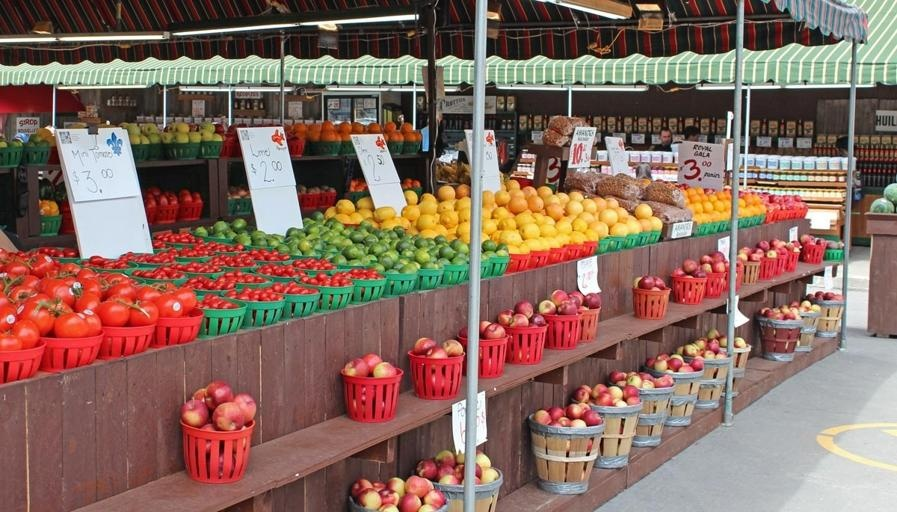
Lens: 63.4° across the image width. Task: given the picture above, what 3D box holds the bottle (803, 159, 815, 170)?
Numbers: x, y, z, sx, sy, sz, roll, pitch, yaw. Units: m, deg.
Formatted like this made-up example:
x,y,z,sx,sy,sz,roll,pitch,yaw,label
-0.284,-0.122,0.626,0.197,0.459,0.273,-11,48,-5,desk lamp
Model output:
x,y,z,sx,sy,sz,roll,pitch,yaw,label
7.135,-1.841,14.439,0.190,0.218,0.194,2,2,5,bottle

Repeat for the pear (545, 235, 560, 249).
x,y,z,sx,sy,sz,roll,pitch,yaw,label
0.774,-0.114,5.478,0.096,0.076,0.074,-1,-2,35,pear

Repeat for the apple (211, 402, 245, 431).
x,y,z,sx,sy,sz,roll,pitch,yaw,label
-1.060,0.772,3.533,0.129,0.127,0.135,-1,24,3,apple

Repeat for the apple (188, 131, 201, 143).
x,y,z,sx,sy,sz,roll,pitch,yaw,label
-2.113,-0.998,6.064,0.091,0.086,0.088,22,4,-34,apple

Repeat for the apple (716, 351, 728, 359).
x,y,z,sx,sy,sz,roll,pitch,yaw,label
2.534,0.914,6.743,0.084,0.055,0.075,-9,11,-44,apple

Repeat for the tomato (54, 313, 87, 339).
x,y,z,sx,sy,sz,roll,pitch,yaw,label
-1.714,0.303,3.320,0.114,0.117,0.118,19,17,39,tomato

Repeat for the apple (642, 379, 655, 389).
x,y,z,sx,sy,sz,roll,pitch,yaw,label
1.581,1.016,5.788,0.094,0.067,0.177,1,14,17,apple

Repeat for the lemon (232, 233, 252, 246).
x,y,z,sx,sy,sz,roll,pitch,yaw,label
-1.396,-0.117,4.948,0.107,0.060,0.199,-9,15,-22,lemon

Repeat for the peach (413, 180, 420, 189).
x,y,z,sx,sy,sz,roll,pitch,yaw,label
-0.321,-0.744,7.441,0.079,0.081,0.080,-3,3,12,peach

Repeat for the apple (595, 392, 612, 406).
x,y,z,sx,sy,sz,roll,pitch,yaw,label
1.141,1.057,5.408,0.088,0.088,0.089,10,6,23,apple

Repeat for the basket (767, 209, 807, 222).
x,y,z,sx,sy,sz,roll,pitch,yaw,label
3.947,-0.490,8.559,0.582,0.129,0.281,-4,4,-41,basket

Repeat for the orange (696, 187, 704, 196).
x,y,z,sx,sy,sz,roll,pitch,yaw,label
2.547,-0.669,7.362,0.056,0.067,0.262,2,15,22,orange

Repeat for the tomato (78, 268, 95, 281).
x,y,z,sx,sy,sz,roll,pitch,yaw,label
-1.885,0.078,3.776,0.071,0.057,0.093,-3,11,-22,tomato

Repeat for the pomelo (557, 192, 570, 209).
x,y,z,sx,sy,sz,roll,pitch,yaw,label
0.958,-0.470,6.145,0.109,0.130,0.111,-8,12,44,pomelo

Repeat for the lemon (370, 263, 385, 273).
x,y,z,sx,sy,sz,roll,pitch,yaw,label
-0.438,0.063,4.465,0.055,0.045,0.062,37,11,31,lemon

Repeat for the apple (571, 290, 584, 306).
x,y,z,sx,sy,sz,roll,pitch,yaw,label
0.941,0.304,5.375,0.095,0.097,0.113,-6,-8,-27,apple

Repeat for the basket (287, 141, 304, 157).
x,y,z,sx,sy,sz,roll,pitch,yaw,label
-1.411,-1.007,6.757,0.143,0.113,0.142,-7,11,-34,basket

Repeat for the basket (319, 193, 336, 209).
x,y,z,sx,sy,sz,roll,pitch,yaw,label
-1.162,-0.536,7.040,0.147,0.115,0.149,-1,1,-11,basket

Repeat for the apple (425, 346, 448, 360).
x,y,z,sx,sy,sz,roll,pitch,yaw,label
-0.070,0.579,4.384,0.122,0.051,0.083,-4,14,-2,apple

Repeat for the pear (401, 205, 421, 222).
x,y,z,sx,sy,sz,roll,pitch,yaw,label
-0.295,-0.346,5.726,0.097,0.102,0.134,-6,-1,35,pear

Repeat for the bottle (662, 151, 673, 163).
x,y,z,sx,sy,sz,roll,pitch,yaw,label
4.493,-2.068,15.078,0.216,0.212,0.220,1,2,-10,bottle

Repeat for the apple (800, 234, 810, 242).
x,y,z,sx,sy,sz,roll,pitch,yaw,label
4.231,-0.221,8.682,0.057,0.061,0.071,12,41,-24,apple

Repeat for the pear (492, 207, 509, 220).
x,y,z,sx,sy,sz,roll,pitch,yaw,label
0.398,-0.334,5.642,0.094,0.101,0.114,8,-8,4,pear

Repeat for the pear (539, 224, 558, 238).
x,y,z,sx,sy,sz,roll,pitch,yaw,label
0.751,-0.196,5.549,0.117,0.094,0.095,28,4,1,pear

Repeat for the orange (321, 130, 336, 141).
x,y,z,sx,sy,sz,roll,pitch,yaw,label
-1.143,-1.158,6.927,0.142,0.096,0.055,-5,13,-9,orange

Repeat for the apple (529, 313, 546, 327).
x,y,z,sx,sy,sz,roll,pitch,yaw,label
0.599,0.430,4.928,0.095,0.068,0.140,-1,14,8,apple

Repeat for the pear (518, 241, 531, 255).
x,y,z,sx,sy,sz,roll,pitch,yaw,label
0.536,-0.065,5.273,0.064,0.055,0.088,-7,29,2,pear

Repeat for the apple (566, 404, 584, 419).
x,y,z,sx,sy,sz,roll,pitch,yaw,label
0.900,1.112,5.211,0.099,0.108,0.104,3,2,8,apple

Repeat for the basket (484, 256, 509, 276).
x,y,z,sx,sy,sz,roll,pitch,yaw,label
0.333,0.066,5.010,0.134,0.099,0.137,0,3,17,basket

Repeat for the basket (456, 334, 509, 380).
x,y,z,sx,sy,sz,roll,pitch,yaw,label
0.208,0.637,4.645,0.289,0.224,0.269,0,3,12,basket

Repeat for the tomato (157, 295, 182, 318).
x,y,z,sx,sy,sz,roll,pitch,yaw,label
-1.361,0.246,3.551,0.106,0.109,0.099,7,-18,-25,tomato

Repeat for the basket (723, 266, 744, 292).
x,y,z,sx,sy,sz,roll,pitch,yaw,label
2.763,0.200,7.123,0.267,0.213,0.273,3,11,21,basket

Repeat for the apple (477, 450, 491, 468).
x,y,z,sx,sy,sz,roll,pitch,yaw,label
0.216,1.313,4.673,0.073,0.101,0.208,-2,14,4,apple

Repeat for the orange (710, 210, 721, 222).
x,y,z,sx,sy,sz,roll,pitch,yaw,label
2.654,-0.408,7.245,0.096,0.095,0.096,2,21,18,orange

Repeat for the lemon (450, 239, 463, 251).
x,y,z,sx,sy,sz,roll,pitch,yaw,label
0.048,-0.076,4.861,0.066,0.079,0.109,-9,-18,-1,lemon

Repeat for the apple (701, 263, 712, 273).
x,y,z,sx,sy,sz,roll,pitch,yaw,label
2.361,0.103,6.690,0.076,0.078,0.075,-2,-18,-6,apple

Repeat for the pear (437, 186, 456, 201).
x,y,z,sx,sy,sz,roll,pitch,yaw,label
-0.024,-0.535,6.062,0.125,0.128,0.124,0,-11,8,pear

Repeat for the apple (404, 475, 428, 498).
x,y,z,sx,sy,sz,roll,pitch,yaw,label
-0.198,1.381,4.357,0.118,0.116,0.112,2,-40,-16,apple

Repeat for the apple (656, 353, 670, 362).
x,y,z,sx,sy,sz,roll,pitch,yaw,label
1.852,0.891,6.315,0.076,0.076,0.077,33,35,7,apple

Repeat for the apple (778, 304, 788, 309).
x,y,z,sx,sy,sz,roll,pitch,yaw,label
3.703,0.557,8.056,0.088,0.033,0.087,-6,8,-29,apple

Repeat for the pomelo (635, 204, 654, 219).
x,y,z,sx,sy,sz,roll,pitch,yaw,label
1.725,-0.408,6.483,0.148,0.114,0.106,-11,15,-29,pomelo

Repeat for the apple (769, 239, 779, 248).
x,y,z,sx,sy,sz,roll,pitch,yaw,label
3.558,-0.124,7.978,0.083,0.086,0.102,-26,28,46,apple

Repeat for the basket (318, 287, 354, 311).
x,y,z,sx,sy,sz,roll,pitch,yaw,label
-0.646,0.235,4.172,0.146,0.068,0.148,-1,4,0,basket

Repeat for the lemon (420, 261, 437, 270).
x,y,z,sx,sy,sz,roll,pitch,yaw,label
-0.118,0.059,4.650,0.069,0.053,0.052,3,15,-2,lemon

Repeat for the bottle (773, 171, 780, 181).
x,y,z,sx,sy,sz,roll,pitch,yaw,label
6.571,-1.629,14.699,0.127,0.232,0.127,1,12,0,bottle

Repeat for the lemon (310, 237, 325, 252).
x,y,z,sx,sy,sz,roll,pitch,yaw,label
-0.872,-0.083,4.840,0.072,0.059,0.084,2,9,4,lemon

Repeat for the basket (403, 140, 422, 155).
x,y,z,sx,sy,sz,roll,pitch,yaw,label
-0.381,-1.131,7.540,0.155,0.111,0.156,-4,8,-20,basket

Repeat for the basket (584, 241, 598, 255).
x,y,z,sx,sy,sz,roll,pitch,yaw,label
1.125,-0.072,5.775,0.108,0.082,0.109,0,2,-11,basket

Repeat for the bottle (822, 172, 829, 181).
x,y,z,sx,sy,sz,roll,pitch,yaw,label
7.418,-1.587,14.368,0.157,0.156,0.110,-3,5,7,bottle

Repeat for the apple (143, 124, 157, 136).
x,y,z,sx,sy,sz,roll,pitch,yaw,label
-2.473,-1.066,6.049,0.107,0.111,0.143,-6,16,-11,apple

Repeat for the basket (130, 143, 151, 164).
x,y,z,sx,sy,sz,roll,pitch,yaw,label
-2.477,-0.839,5.885,0.153,0.109,0.155,-2,6,-7,basket
